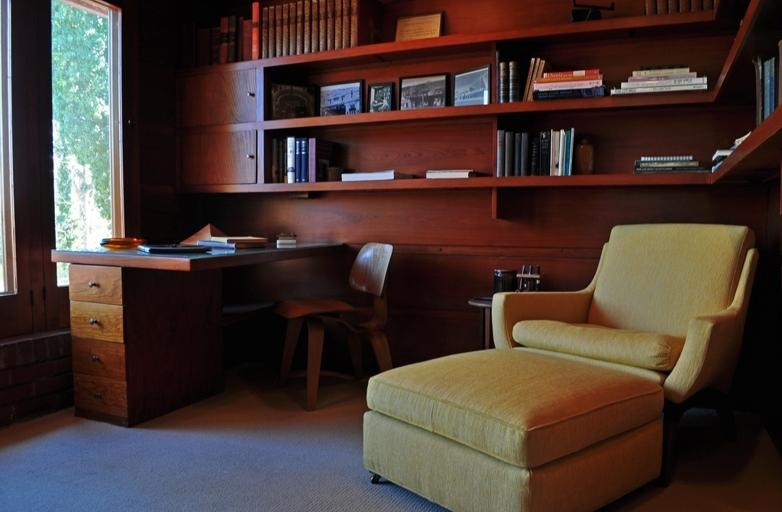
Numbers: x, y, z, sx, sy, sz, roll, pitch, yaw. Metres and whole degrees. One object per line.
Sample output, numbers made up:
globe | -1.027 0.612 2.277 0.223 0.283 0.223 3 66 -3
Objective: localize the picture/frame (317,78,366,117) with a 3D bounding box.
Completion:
picture/frame | -0.333 -1.101 4.020 0.368 0.244 0.031 2 0 22

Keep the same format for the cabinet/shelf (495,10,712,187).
cabinet/shelf | 1.221 -0.919 3.441 1.267 0.984 0.318 5 13 11

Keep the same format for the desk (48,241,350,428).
desk | -1.299 0.432 3.365 1.104 0.989 0.786 -4 14 -29

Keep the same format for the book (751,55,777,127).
book | 1.761 -0.785 2.721 0.061 0.318 0.290 6 12 16

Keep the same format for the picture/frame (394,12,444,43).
picture/frame | 0.197 -1.520 3.850 0.354 0.194 0.016 1 -9 20

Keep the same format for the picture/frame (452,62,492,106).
picture/frame | 0.526 -1.094 3.689 0.381 0.308 0.040 0 -2 39

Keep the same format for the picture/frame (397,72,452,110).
picture/frame | 0.238 -1.097 3.846 0.358 0.229 0.027 1 0 23

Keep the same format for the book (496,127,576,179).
book | 0.878 -0.575 3.670 0.472 0.306 0.441 -5 -5 6

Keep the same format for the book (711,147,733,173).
book | 1.799 -0.513 3.128 0.123 0.135 0.208 0 4 19

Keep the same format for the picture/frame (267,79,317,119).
picture/frame | -0.709 -1.087 4.034 0.365 0.240 0.049 0 5 -20

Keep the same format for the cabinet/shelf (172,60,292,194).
cabinet/shelf | -1.099 -0.928 4.079 1.028 0.926 0.390 0 4 23

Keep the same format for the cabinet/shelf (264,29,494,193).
cabinet/shelf | -0.086 -0.959 4.037 1.731 0.876 0.507 3 14 24

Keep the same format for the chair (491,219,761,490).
chair | 1.311 0.484 3.414 1.358 1.327 1.359 -1 -4 45

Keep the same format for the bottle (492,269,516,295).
bottle | 0.687 0.173 3.564 0.141 0.124 0.137 0 1 -7
